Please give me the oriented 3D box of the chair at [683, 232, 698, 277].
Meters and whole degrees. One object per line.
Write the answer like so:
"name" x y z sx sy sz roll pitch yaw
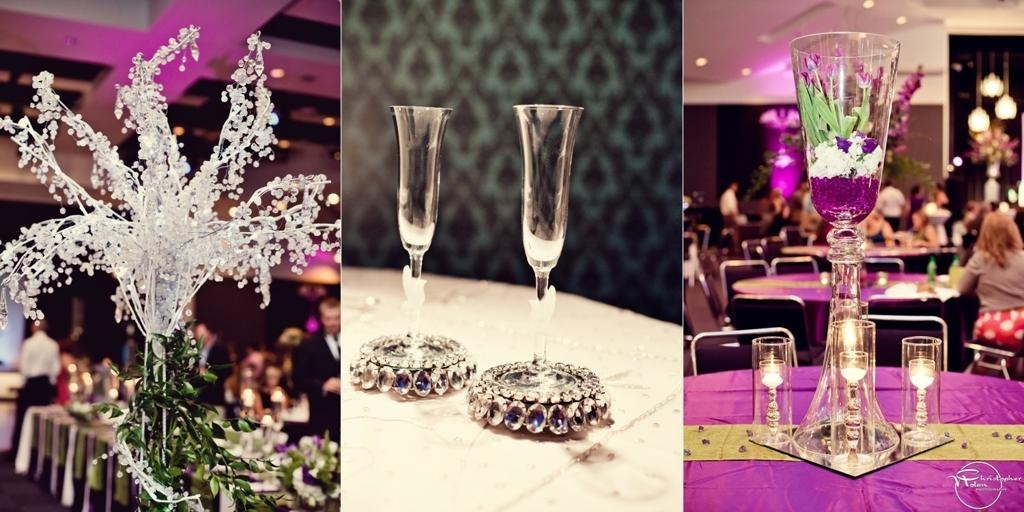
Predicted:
"chair" 2.141 -0.015 10.933 0.158 0.581 0.167 0 -26 -15

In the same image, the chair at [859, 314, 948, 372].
"chair" 2.901 0.662 6.778 0.588 0.534 0.431 1 4 15
